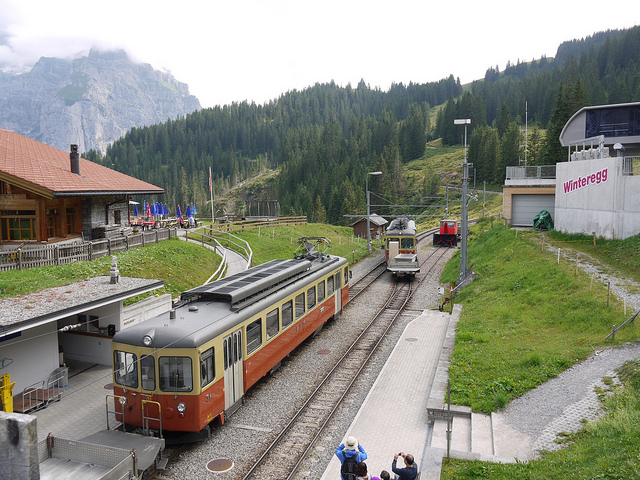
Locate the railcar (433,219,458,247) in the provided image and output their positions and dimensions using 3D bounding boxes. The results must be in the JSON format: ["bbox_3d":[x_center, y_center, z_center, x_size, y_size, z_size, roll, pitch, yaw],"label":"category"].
[{"bbox_3d":[14.294,-0.778,63.379,3.107,3.458,9.255,-1,0,13],"label":"railcar"}]

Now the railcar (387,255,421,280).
[{"bbox_3d":[6.382,2.339,42.911,2.240,1.813,1.603,-8,11,-2],"label":"railcar"}]

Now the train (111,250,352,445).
[{"bbox_3d":[-2.675,3.386,27.241,3.816,5.766,16.152,1,12,26],"label":"train"}]
